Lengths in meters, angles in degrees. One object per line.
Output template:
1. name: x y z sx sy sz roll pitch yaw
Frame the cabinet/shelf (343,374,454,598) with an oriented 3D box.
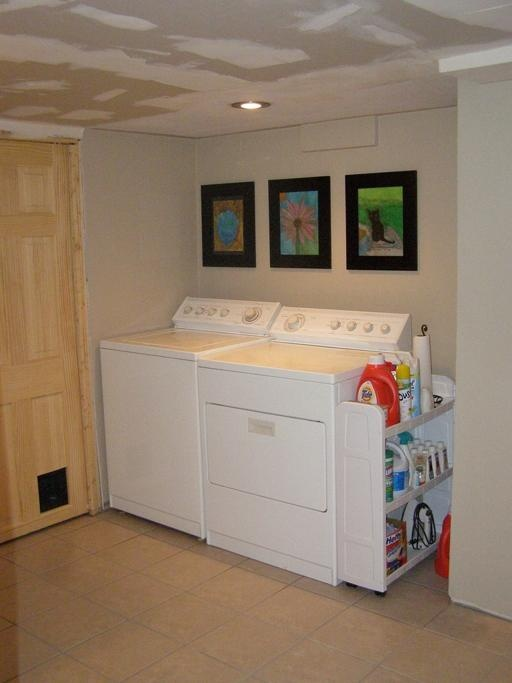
1. cabinet/shelf: 0.582 0.613 2.292 0.258 0.808 0.809 4 10 31

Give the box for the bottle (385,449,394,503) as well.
1. bottle: 0.531 0.540 2.186 0.027 0.209 0.117 -1 3 17
